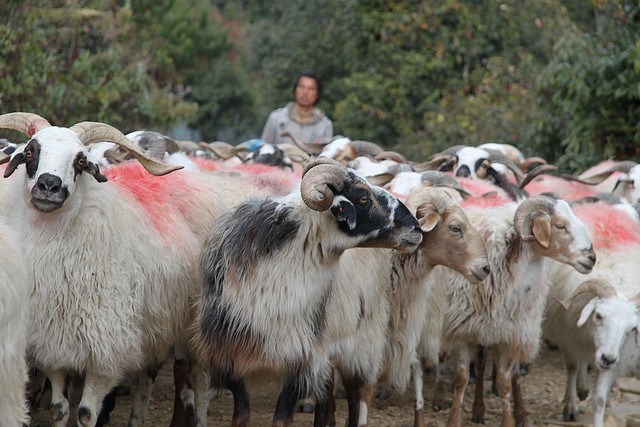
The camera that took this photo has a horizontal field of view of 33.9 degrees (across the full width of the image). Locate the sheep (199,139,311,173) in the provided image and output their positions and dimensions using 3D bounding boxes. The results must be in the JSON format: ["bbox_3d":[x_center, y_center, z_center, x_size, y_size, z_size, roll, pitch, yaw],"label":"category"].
[{"bbox_3d":[-0.974,-0.943,16.292,0.862,0.800,1.394,-9,11,-43],"label":"sheep"}]

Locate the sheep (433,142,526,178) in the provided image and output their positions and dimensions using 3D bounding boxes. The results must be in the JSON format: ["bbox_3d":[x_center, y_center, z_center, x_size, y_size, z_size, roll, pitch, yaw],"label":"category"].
[{"bbox_3d":[2.430,-0.763,14.745,1.130,0.568,0.646,4,2,-41],"label":"sheep"}]

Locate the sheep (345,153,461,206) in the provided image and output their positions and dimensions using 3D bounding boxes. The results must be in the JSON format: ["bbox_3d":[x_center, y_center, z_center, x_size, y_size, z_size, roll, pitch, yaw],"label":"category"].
[{"bbox_3d":[0.927,-0.498,14.122,0.721,0.663,1.221,8,8,-44],"label":"sheep"}]

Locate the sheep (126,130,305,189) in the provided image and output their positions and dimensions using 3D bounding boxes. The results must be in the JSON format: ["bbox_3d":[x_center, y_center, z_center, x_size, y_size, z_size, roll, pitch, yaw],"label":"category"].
[{"bbox_3d":[-1.351,-0.701,14.014,1.637,0.912,0.872,10,13,22],"label":"sheep"}]

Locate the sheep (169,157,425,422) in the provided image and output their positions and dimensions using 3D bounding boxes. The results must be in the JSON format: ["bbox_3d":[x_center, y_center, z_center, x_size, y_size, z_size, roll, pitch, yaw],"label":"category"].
[{"bbox_3d":[-0.208,0.866,11.606,2.213,2.909,1.088,6,-4,-6],"label":"sheep"}]
